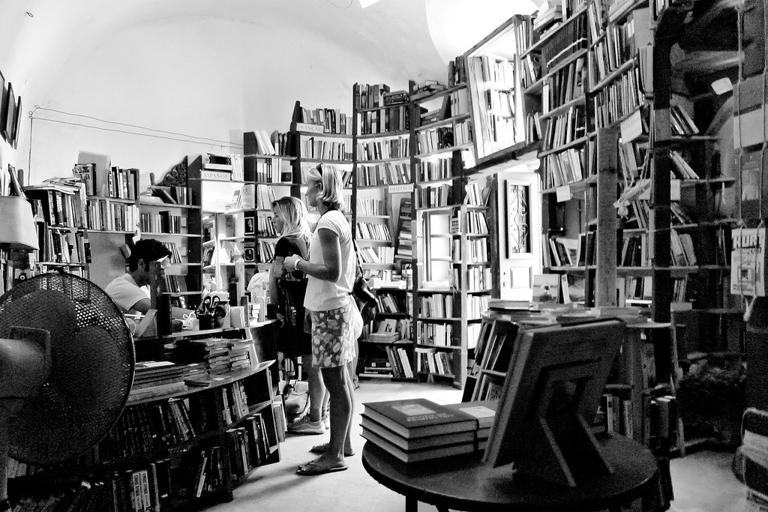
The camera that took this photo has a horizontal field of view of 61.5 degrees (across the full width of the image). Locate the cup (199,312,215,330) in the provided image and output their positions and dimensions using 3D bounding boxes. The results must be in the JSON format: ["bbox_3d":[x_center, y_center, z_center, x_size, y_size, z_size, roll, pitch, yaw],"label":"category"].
[{"bbox_3d":[-1.370,0.508,4.987,0.103,0.139,0.144,-1,3,-12],"label":"cup"}]

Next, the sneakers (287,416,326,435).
[{"bbox_3d":[-0.722,1.575,6.021,0.375,0.164,0.136,2,-3,1],"label":"sneakers"}]

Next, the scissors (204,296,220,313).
[{"bbox_3d":[-1.375,0.382,5.144,0.097,0.137,0.049,8,-13,-31],"label":"scissors"}]
